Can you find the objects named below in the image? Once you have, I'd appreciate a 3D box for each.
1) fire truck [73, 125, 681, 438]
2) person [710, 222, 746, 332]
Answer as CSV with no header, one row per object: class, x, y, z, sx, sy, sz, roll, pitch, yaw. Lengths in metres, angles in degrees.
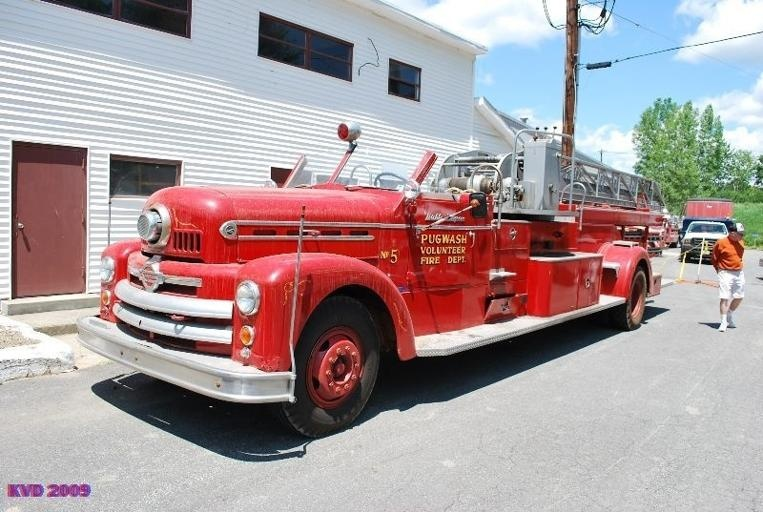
fire truck,1.095,0.185,8.172,9.741,3.196,3.706,0,2,-44
person,6.788,0.387,9.703,0.563,2.077,1.340,9,12,36
